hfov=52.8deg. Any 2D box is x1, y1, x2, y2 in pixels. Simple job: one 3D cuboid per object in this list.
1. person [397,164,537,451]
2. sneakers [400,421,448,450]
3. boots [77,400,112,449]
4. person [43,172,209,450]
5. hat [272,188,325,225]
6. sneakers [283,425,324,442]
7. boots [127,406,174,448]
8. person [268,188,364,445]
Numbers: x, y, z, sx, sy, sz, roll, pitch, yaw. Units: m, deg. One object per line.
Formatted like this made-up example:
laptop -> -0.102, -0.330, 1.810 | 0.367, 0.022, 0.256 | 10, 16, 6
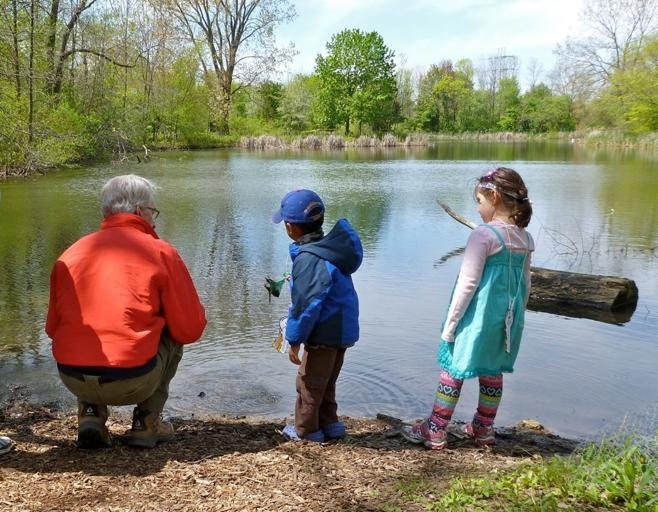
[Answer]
person -> 1.032, 0.419, 4.616 | 0.841, 2.007, 0.518 | -12, 19, -41
sneakers -> 0.663, 1.245, 4.722 | 0.369, 0.175, 0.135 | 9, 7, 39
boots -> -1.562, 1.119, 4.441 | 0.184, 0.326, 0.319 | -2, 38, -8
person -> -1.364, 0.408, 4.432 | 0.981, 1.741, 0.579 | -5, 15, -23
hat -> -0.234, -0.360, 4.722 | 0.244, 0.175, 0.312 | -15, 20, -37
sneakers -> -0.201, 1.274, 4.701 | 0.305, 0.120, 0.111 | 7, 6, 9
boots -> -1.219, 1.158, 4.543 | 0.168, 0.253, 0.398 | 4, 4, 29
person -> -0.053, 0.442, 4.670 | 0.566, 1.771, 0.612 | 0, 14, -3
